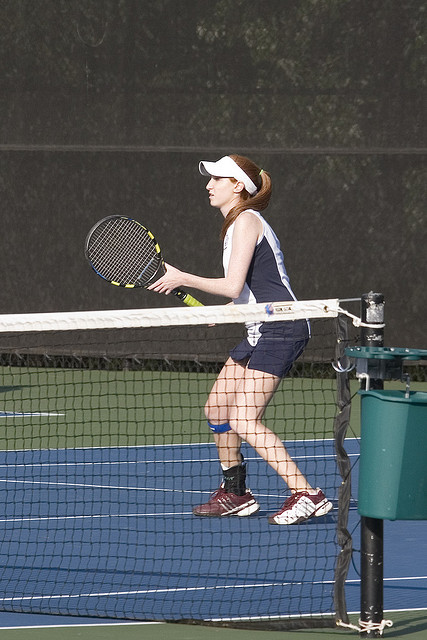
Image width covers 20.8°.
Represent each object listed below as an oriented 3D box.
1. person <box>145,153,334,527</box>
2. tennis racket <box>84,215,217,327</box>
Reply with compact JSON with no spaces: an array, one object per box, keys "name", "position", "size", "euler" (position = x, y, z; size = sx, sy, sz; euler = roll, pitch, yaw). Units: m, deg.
[{"name":"person","position":[0.183,0.133,5.545],"size":[0.761,1.843,0.907],"euler":[0,6,6]},{"name":"tennis racket","position":[-0.503,-0.373,7.002],"size":[0.106,0.434,1.417],"euler":[7,17,-37]}]
